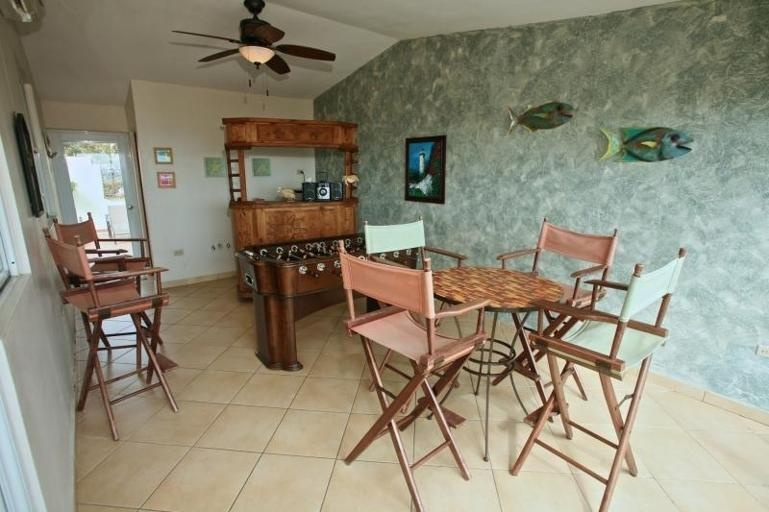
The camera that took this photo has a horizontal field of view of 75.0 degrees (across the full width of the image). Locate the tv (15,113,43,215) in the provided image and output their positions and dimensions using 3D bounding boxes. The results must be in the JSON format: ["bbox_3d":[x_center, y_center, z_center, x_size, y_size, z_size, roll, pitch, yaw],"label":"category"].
[{"bbox_3d":[-3.385,-0.859,4.772,0.114,0.993,0.723,-11,14,-33],"label":"tv"}]

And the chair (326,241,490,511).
[{"bbox_3d":[0.171,0.902,4.073,1.003,2.082,0.869,-10,14,-29],"label":"chair"}]

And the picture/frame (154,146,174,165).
[{"bbox_3d":[-3.196,-1.450,7.229,0.020,0.280,0.304,5,0,44],"label":"picture/frame"}]

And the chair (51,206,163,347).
[{"bbox_3d":[-2.934,0.382,5.382,0.957,1.348,0.851,7,45,-36],"label":"chair"}]

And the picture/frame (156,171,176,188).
[{"bbox_3d":[-3.192,-1.113,7.291,0.280,0.256,0.027,1,2,-40],"label":"picture/frame"}]

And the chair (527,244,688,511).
[{"bbox_3d":[1.771,0.942,4.097,1.160,1.999,0.825,-13,15,-39],"label":"chair"}]

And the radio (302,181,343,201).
[{"bbox_3d":[-0.859,-0.905,7.075,0.579,0.274,0.189,-4,11,-9],"label":"radio"}]

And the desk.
[{"bbox_3d":[0.955,0.700,4.731,1.307,1.301,1.257,-11,15,-42],"label":"desk"}]

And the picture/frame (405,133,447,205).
[{"bbox_3d":[0.555,-1.148,6.481,0.071,0.924,0.889,-13,19,-40],"label":"picture/frame"}]
